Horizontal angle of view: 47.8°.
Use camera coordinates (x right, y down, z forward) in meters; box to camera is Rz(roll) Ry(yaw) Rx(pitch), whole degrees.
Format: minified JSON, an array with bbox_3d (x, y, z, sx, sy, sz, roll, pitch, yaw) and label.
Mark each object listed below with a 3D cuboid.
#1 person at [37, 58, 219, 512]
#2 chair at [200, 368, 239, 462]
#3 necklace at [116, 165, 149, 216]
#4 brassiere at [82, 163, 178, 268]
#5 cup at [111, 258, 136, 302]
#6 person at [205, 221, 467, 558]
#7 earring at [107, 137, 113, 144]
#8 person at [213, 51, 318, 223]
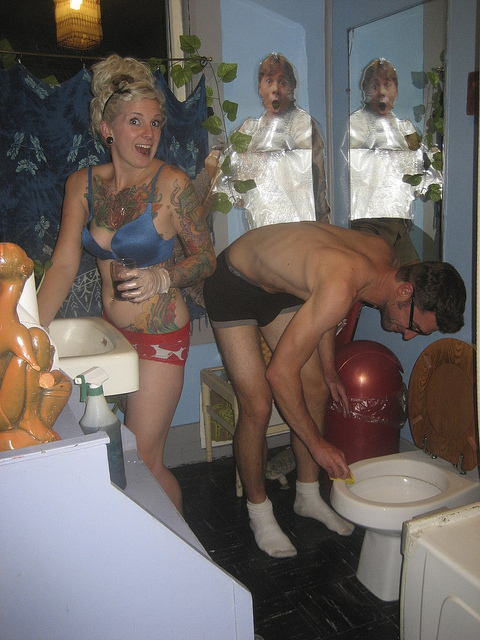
[{"bbox_3d":[-0.338,-0.068,1.598,0.446,1.342,0.363,6,13,36],"label":"person"},{"bbox_3d":[-0.084,0.420,2.302,0.241,0.321,0.330,-3,13,-9],"label":"chair"},{"bbox_3d":[-0.311,-0.368,1.551,0.039,0.133,0.095,6,13,35],"label":"necklace"},{"bbox_3d":[-0.319,-0.294,1.551,0.244,0.314,0.206,-9,20,-18],"label":"brassiere"},{"bbox_3d":[-0.305,-0.103,1.404,0.053,0.108,0.085,-11,14,-40],"label":"cup"},{"bbox_3d":[0.325,0.236,1.779,0.860,1.056,0.626,19,39,30],"label":"person"},{"bbox_3d":[-0.379,-0.521,1.571,0.010,0.016,0.034,-9,14,-35],"label":"earring"},{"bbox_3d":[0.119,-0.721,2.692,0.558,1.033,0.358,5,39,14],"label":"person"}]
